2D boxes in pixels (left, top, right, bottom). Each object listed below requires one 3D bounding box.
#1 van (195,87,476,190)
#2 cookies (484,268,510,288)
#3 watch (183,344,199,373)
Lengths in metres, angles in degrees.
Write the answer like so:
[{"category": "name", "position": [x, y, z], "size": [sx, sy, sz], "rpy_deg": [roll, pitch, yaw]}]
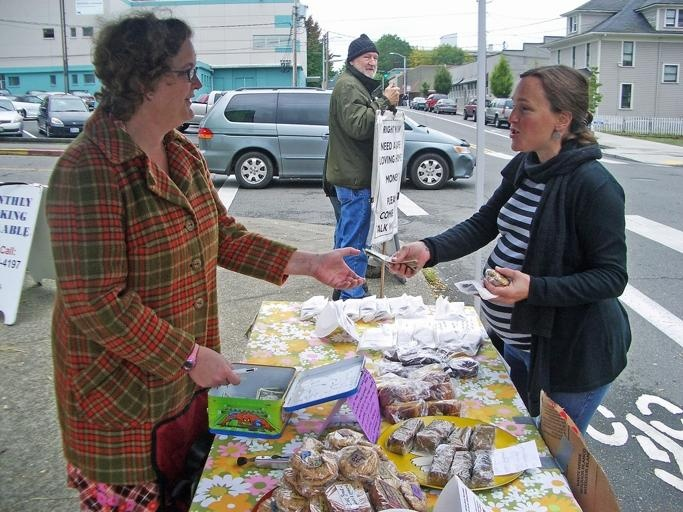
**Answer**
[{"category": "van", "position": [-0.113, -3.004, 13.295], "size": [6.740, 2.185, 2.996], "rpy_deg": [-1, 12, -1]}, {"category": "cookies", "position": [0.740, 0.096, 2.407], "size": [0.133, 0.067, 0.095], "rpy_deg": [9, 18, 35]}, {"category": "watch", "position": [-0.551, 0.376, 1.863], "size": [0.030, 0.083, 0.083], "rpy_deg": [31, 25, -18]}]
